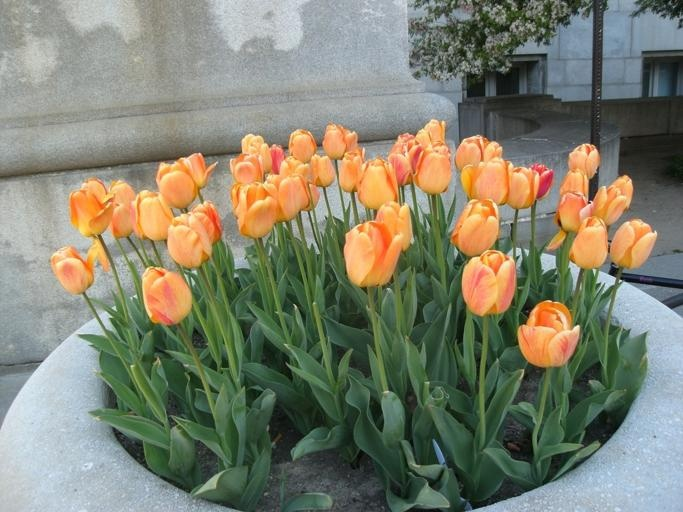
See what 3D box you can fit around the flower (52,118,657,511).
[{"bbox_3d":[0.066,0.206,1.840,1.425,0.751,1.449,3,22,18],"label":"flower"}]
